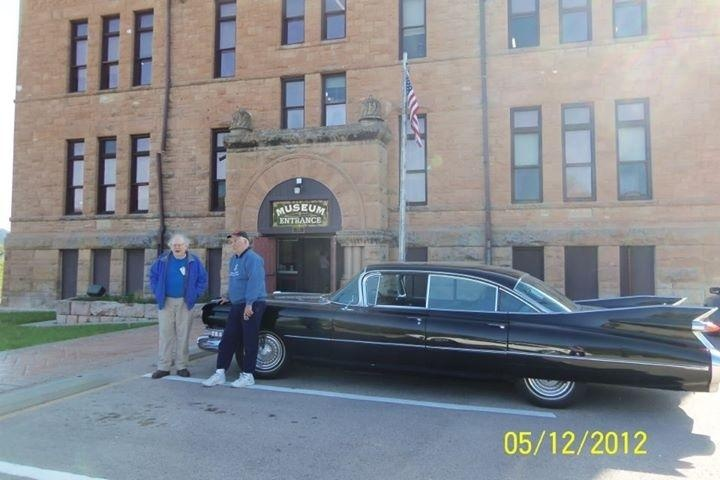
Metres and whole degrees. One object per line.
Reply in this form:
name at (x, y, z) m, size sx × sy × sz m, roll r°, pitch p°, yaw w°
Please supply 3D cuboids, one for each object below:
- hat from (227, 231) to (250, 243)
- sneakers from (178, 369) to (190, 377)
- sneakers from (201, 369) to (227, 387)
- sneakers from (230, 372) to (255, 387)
hat at (-2.663, -0.088, 13.476) m, size 0.391 × 0.190 × 0.240 m, roll 19°, pitch -15°, yaw -25°
sneakers at (-3.495, 2.598, 12.141) m, size 0.229 × 0.145 × 0.124 m, roll -9°, pitch -7°, yaw 31°
sneakers at (-2.850, 2.619, 11.789) m, size 0.560 × 0.244 × 0.205 m, roll 0°, pitch 1°, yaw -13°
sneakers at (-2.249, 2.631, 11.672) m, size 0.421 × 0.194 × 0.211 m, roll 2°, pitch -1°, yaw -13°
